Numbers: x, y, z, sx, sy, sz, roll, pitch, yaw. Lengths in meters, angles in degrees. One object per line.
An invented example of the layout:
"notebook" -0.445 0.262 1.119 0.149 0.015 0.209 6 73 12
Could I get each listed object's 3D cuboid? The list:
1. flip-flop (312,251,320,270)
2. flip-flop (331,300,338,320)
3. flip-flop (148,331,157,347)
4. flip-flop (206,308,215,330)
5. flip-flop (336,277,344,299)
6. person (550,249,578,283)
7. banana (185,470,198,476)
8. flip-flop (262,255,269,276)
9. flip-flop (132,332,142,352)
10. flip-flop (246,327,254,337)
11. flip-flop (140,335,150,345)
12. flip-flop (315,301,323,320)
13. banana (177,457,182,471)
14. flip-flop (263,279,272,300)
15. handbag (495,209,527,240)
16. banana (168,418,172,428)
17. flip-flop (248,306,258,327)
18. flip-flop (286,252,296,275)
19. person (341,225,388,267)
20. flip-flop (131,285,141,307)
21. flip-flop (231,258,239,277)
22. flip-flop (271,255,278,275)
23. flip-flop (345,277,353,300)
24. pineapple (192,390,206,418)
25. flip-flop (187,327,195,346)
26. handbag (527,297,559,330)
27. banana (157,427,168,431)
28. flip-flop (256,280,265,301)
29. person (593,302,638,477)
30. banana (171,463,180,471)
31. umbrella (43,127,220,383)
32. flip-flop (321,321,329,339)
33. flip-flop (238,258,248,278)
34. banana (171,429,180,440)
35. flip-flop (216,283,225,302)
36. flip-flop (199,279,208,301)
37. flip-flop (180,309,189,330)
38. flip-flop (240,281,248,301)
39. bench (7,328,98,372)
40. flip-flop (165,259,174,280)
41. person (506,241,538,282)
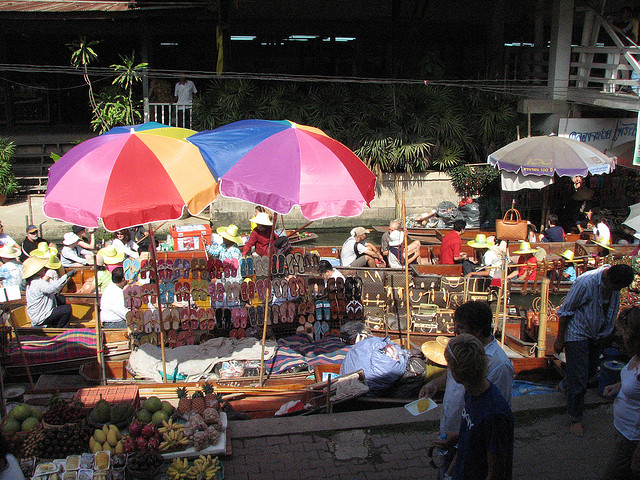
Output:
"flip-flop" -0.076 0.340 9.896 0.120 0.289 0.092 -3 0 -8
"flip-flop" 0.238 1.179 9.869 0.095 0.301 0.083 -1 10 -5
"flip-flop" -2.686 1.571 9.296 0.091 0.267 0.060 2 15 -5
"flip-flop" -1.767 1.254 9.315 0.122 0.328 0.073 4 18 -8
"flip-flop" 0.327 0.797 9.772 0.108 0.346 0.085 1 1 -7
"person" 5.406 0.562 12.910 0.495 0.971 0.508 -4 35 16
"banana" -1.516 2.716 6.773 0.143 0.062 0.032 -2 5 6
"flip-flop" -0.895 0.412 9.420 0.121 0.330 0.049 2 6 0
"flip-flop" -2.960 1.611 9.343 0.148 0.245 0.081 0 -11 14
"flip-flop" -1.172 1.513 9.581 0.124 0.133 0.143 -7 7 -42
"flip-flop" -2.822 1.593 9.302 0.118 0.138 0.030 -7 12 6
"flip-flop" -0.014 1.176 9.713 0.095 0.302 0.107 0 -4 -6
"banana" -1.658 2.633 6.815 0.032 0.135 0.034 -17 -13 -1
"flip-flop" -0.844 0.785 9.332 0.119 0.393 0.098 -1 12 -7
"handbag" 4.270 -0.434 13.028 0.695 0.813 0.365 7 33 28
"banana" -1.874 2.273 7.220 0.031 0.014 0.095 1 28 -10
"flip-flop" -1.110 1.224 9.378 0.114 0.314 0.086 -3 6 2
"flip-flop" -0.498 0.392 9.744 0.163 0.345 0.094 -3 5 -11
"person" 0.873 0.178 11.860 0.907 0.944 0.608 -1 18 4
"flip-flop" -2.853 0.858 8.983 0.113 0.355 0.088 1 0 -9
"flip-flop" -1.394 0.428 9.393 0.095 0.286 0.080 -1 1 -2
"flip-flop" -0.772 0.391 9.646 0.123 0.286 0.047 2 -7 6
"flip-flop" 0.478 0.808 9.821 0.106 0.370 0.133 2 0 -4
"pineapple" -1.571 2.104 7.487 0.167 0.224 0.356 -4 6 -15
"flip-flop" -2.099 1.555 9.384 0.085 0.269 0.068 4 -6 -14
"handbag" 4.025 1.335 10.528 0.638 0.239 0.501 -14 39 -14
"banana" -1.948 2.320 7.148 0.121 0.020 0.050 -5 6 -25
"flip-flop" -0.972 0.804 9.358 0.114 0.324 0.050 -3 1 -9
"person" 3.322 1.818 6.536 0.417 2.189 0.982 0 6 26
"banana" -1.705 2.657 6.818 0.086 0.023 0.047 48 9 19
"umbrella" -2.490 -0.262 8.266 1.796 2.823 1.835 -27 46 -25
"flip-flop" 0.081 1.494 9.866 0.157 0.266 0.044 -7 7 -42
"flip-flop" -1.273 0.431 9.402 0.128 0.306 0.096 -3 8 0
"banana" -1.775 2.373 7.091 0.073 0.094 0.028 0 -18 -7
"flip-flop" -1.610 0.822 9.231 0.117 0.272 0.066 1 9 -2
"flip-flop" -1.872 0.790 9.249 0.125 0.318 0.076 1 4 -1
"flip-flop" -2.177 1.256 9.252 0.110 0.319 0.081 1 21 -2
"flip-flop" -1.226 0.799 9.240 0.103 0.260 0.093 -1 9 -7
"bench" -4.151 1.654 9.348 1.483 0.523 0.814 -2 11 -14
"flip-flop" -2.415 0.459 9.241 0.109 0.344 0.085 1 4 -6
"person" 4.657 0.396 13.252 0.456 0.887 0.605 -16 20 0
